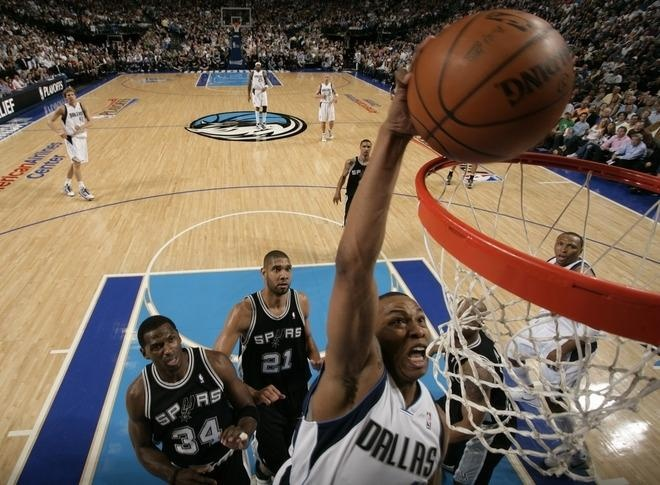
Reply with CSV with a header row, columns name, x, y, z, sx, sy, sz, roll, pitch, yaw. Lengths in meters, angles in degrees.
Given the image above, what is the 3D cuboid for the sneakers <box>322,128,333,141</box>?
name,x,y,z,sx,sy,sz,roll,pitch,yaw
sneakers,-0.067,-2.638,10.899,0.180,0.245,0.562,0,0,2

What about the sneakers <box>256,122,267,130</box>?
name,x,y,z,sx,sy,sz,roll,pitch,yaw
sneakers,-1.848,-3.059,11.665,0.273,0.127,0.371,-5,18,-16

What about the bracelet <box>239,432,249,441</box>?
name,x,y,z,sx,sy,sz,roll,pitch,yaw
bracelet,-0.581,1.272,2.885,0.048,0.014,0.048,-13,25,-40

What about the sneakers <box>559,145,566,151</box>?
name,x,y,z,sx,sy,sz,roll,pitch,yaw
sneakers,5.079,-2.033,9.545,0.136,0.060,0.153,-4,9,23

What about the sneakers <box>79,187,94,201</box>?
name,x,y,z,sx,sy,sz,roll,pitch,yaw
sneakers,-4.045,-0.801,7.235,0.188,0.186,0.263,-18,42,-29
